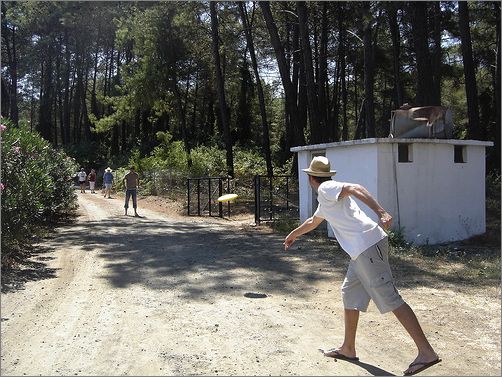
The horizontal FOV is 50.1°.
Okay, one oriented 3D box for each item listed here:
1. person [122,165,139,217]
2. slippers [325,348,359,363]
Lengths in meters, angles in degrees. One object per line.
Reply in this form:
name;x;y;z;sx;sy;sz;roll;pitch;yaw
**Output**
person;-5.214;0.054;23.145;0.609;2.086;0.656;1;3;-2
slippers;1.530;2.759;9.017;0.531;0.160;0.216;11;-11;22
